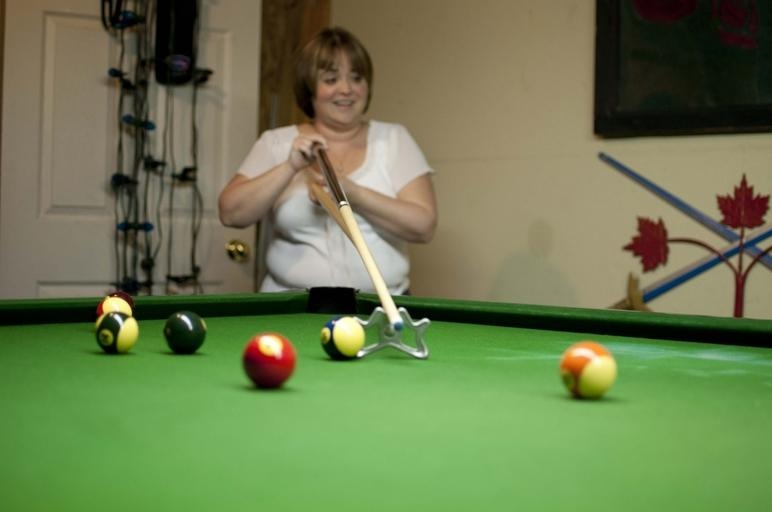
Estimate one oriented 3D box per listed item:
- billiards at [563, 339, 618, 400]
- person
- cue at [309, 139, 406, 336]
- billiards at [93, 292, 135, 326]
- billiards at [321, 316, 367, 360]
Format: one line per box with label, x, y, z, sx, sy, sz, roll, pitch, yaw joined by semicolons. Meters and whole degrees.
billiards;0.455;0.256;1.624;0.113;0.139;0.116;6;-18;-4
person;-0.251;0.026;3.504;0.926;2.228;0.715;-1;3;1
cue;-0.137;-0.150;2.540;0.140;0.074;1.423;21;27;-26
billiards;-0.829;0.162;2.201;0.097;0.088;0.083;3;-5;44
billiards;-0.109;0.216;1.950;0.124;0.130;0.119;1;7;-32
